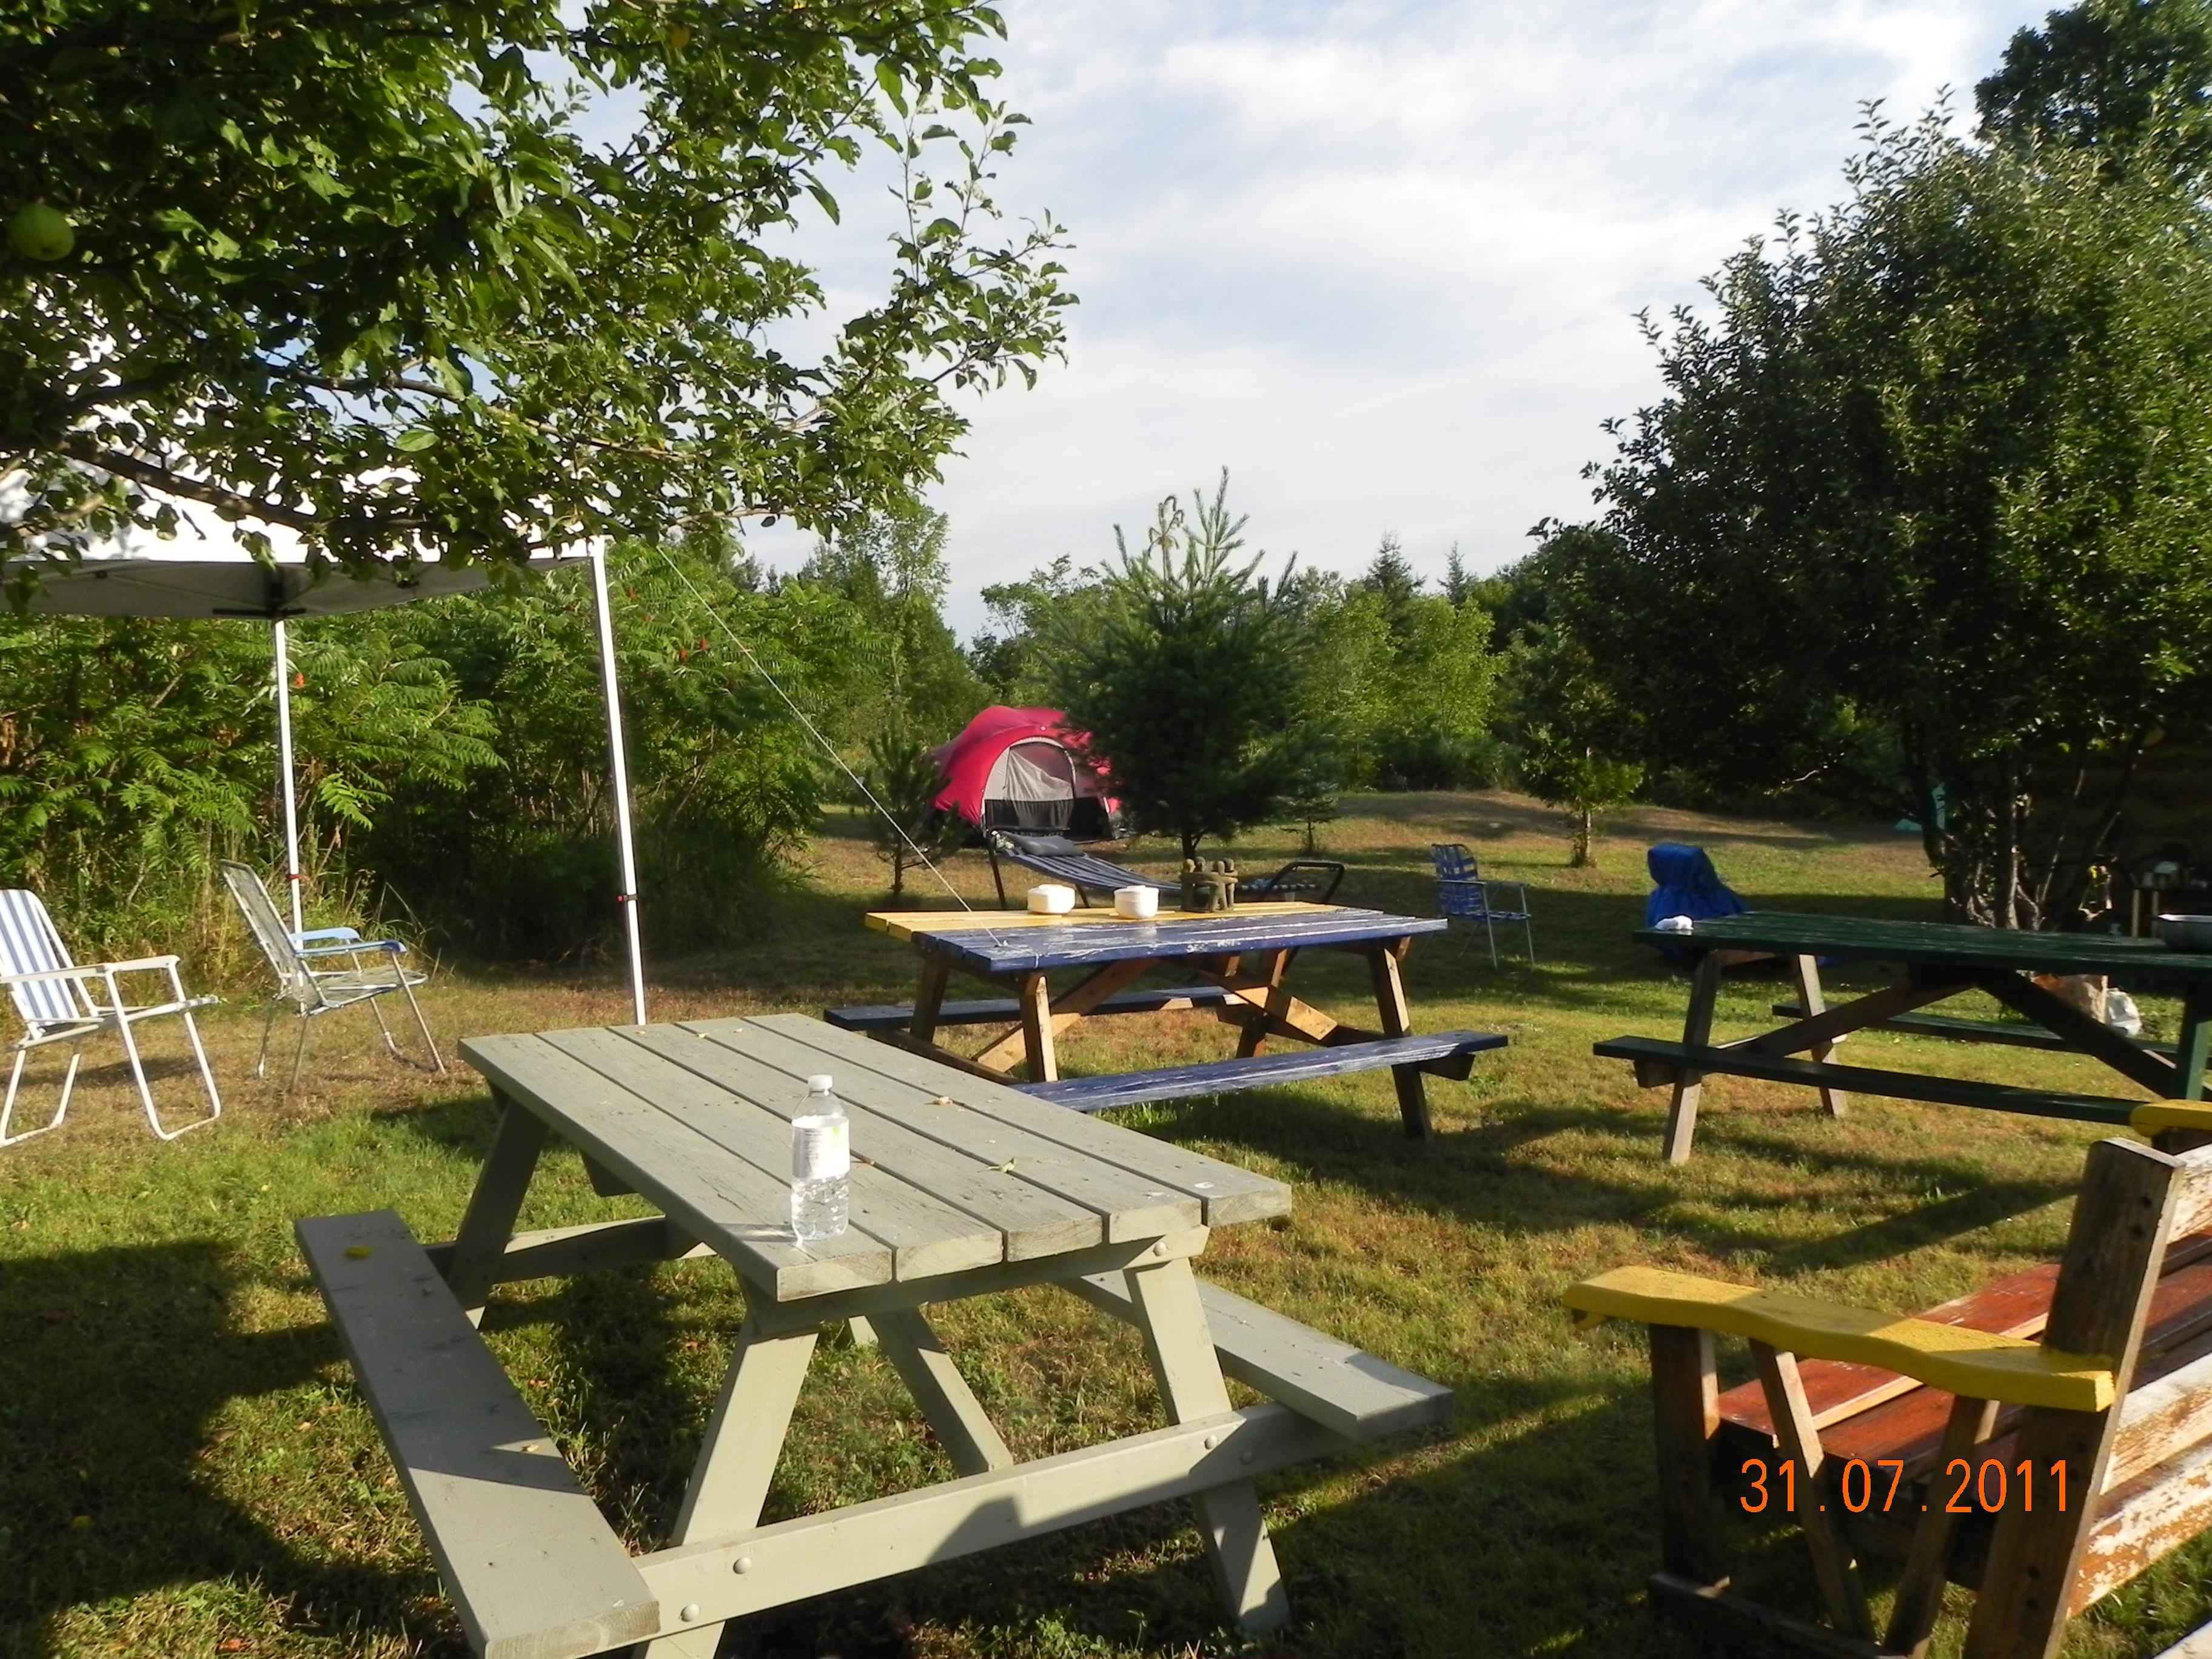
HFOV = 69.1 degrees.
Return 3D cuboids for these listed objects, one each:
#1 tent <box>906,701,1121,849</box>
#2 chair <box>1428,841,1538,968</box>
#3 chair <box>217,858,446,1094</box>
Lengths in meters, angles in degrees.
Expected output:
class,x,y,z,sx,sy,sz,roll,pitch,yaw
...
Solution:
class,x,y,z,sx,sy,sz,roll,pitch,yaw
tent,-0.689,-0.545,15.136,1.340,0.715,1.681,1,-1,-24
chair,3.039,0.605,13.029,0.706,0.841,0.606,8,8,43
chair,-3.912,0.712,8.234,0.833,0.978,0.922,6,8,43
